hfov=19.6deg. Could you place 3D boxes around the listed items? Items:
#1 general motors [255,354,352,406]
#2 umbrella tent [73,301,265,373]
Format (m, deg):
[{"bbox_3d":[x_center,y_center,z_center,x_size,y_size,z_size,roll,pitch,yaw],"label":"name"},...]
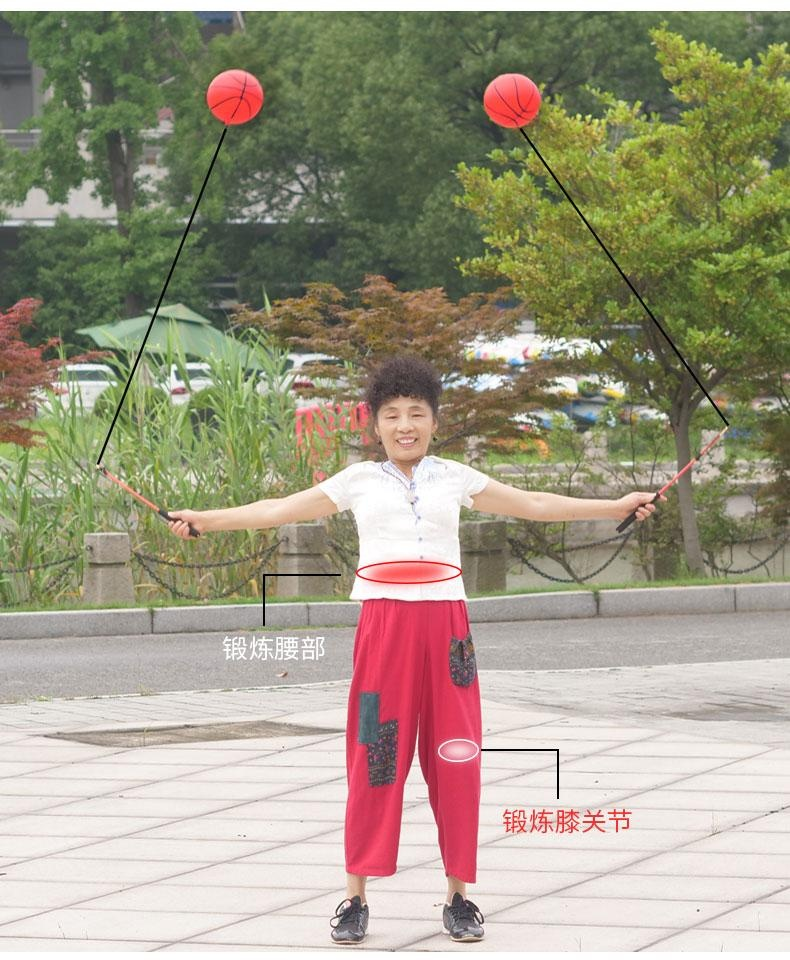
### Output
[{"bbox_3d":[-1.043,-1.042,23.360,0.795,0.592,1.269,-4,2,-40],"label":"general motors"},{"bbox_3d":[-2.560,-1.761,28.190,1.896,0.450,1.916,4,8,-15],"label":"umbrella tent"}]
